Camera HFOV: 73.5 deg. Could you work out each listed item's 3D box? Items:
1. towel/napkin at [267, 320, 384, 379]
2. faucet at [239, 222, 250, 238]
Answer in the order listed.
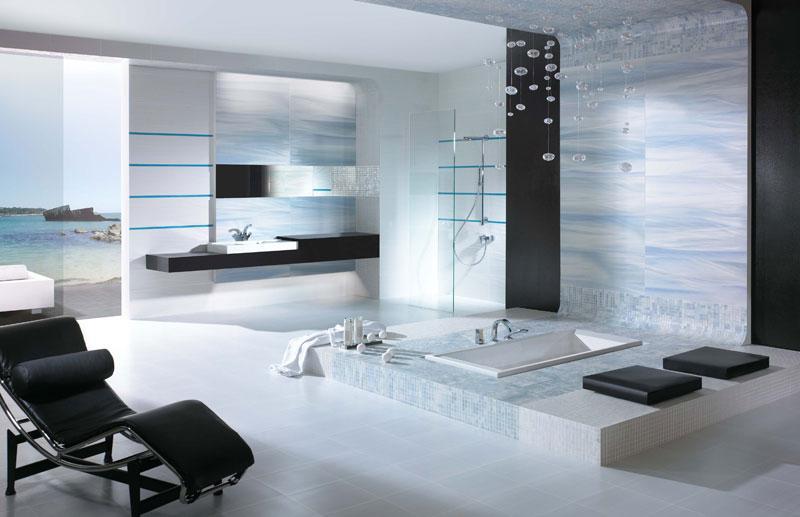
[{"bbox_3d":[-0.705,0.891,5.660,0.693,0.275,0.908,0,6,33],"label":"towel/napkin"},{"bbox_3d":[-2.422,-0.432,8.407,0.140,0.229,0.299,-2,10,-9],"label":"faucet"}]
